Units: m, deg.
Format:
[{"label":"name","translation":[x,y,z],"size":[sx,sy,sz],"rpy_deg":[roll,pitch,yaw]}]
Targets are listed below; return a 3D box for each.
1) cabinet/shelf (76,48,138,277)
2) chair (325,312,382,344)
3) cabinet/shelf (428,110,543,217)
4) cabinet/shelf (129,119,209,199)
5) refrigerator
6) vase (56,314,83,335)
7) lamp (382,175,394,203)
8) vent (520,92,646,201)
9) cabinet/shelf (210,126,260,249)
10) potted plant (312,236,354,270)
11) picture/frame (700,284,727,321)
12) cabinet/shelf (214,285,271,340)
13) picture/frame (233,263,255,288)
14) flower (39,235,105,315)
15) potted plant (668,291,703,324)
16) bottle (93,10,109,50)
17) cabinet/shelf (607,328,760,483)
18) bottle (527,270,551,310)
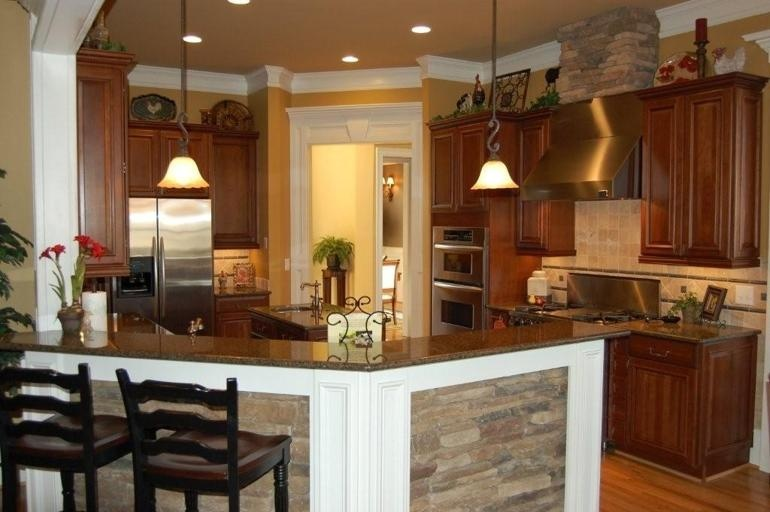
[{"label":"cabinet/shelf","translation":[-2.402,-0.793,5.478],"size":[0.510,1.914,0.302],"rpy_deg":[-5,13,-25]},{"label":"chair","translation":[-0.209,0.477,4.474],"size":[0.384,0.207,0.200],"rpy_deg":[1,12,-1]},{"label":"cabinet/shelf","translation":[1.218,-0.870,7.436],"size":[0.904,1.570,1.605],"rpy_deg":[-3,5,-22]},{"label":"cabinet/shelf","translation":[-2.640,-1.099,7.638],"size":[1.010,0.949,0.355],"rpy_deg":[3,16,-7]},{"label":"refrigerator","translation":[-2.742,0.213,7.541],"size":[1.062,1.786,0.678],"rpy_deg":[-4,18,-35]},{"label":"vase","translation":[-2.369,0.506,4.776],"size":[0.154,0.114,0.155],"rpy_deg":[-3,-4,31]},{"label":"lamp","translation":[0.077,-1.233,11.470],"size":[0.088,0.441,0.321],"rpy_deg":[-7,14,-33]},{"label":"vent","translation":[1.927,-1.054,6.313],"size":[0.477,1.019,1.187],"rpy_deg":[-4,5,-34]},{"label":"cabinet/shelf","translation":[-2.011,-0.864,8.328],"size":[0.692,1.480,0.358],"rpy_deg":[-1,10,-16]},{"label":"potted plant","translation":[-0.837,-0.021,10.284],"size":[0.625,0.446,0.608],"rpy_deg":[8,-16,-29]},{"label":"picture/frame","translation":[3.026,0.435,5.846],"size":[0.200,0.307,0.187],"rpy_deg":[-7,14,-34]},{"label":"cabinet/shelf","translation":[-1.861,0.684,7.953],"size":[0.812,0.777,0.548],"rpy_deg":[-2,4,-32]},{"label":"picture/frame","translation":[-1.857,0.257,8.363],"size":[0.292,0.283,0.280],"rpy_deg":[-2,12,-13]},{"label":"flower","translation":[-2.549,0.144,5.104],"size":[0.654,0.760,0.339],"rpy_deg":[2,-1,-32]},{"label":"potted plant","translation":[2.820,0.461,5.990],"size":[0.285,0.271,0.281],"rpy_deg":[-3,6,-34]},{"label":"bottle","translation":[-2.461,-1.935,5.473],"size":[0.092,0.207,0.090],"rpy_deg":[5,15,-1]},{"label":"cabinet/shelf","translation":[2.771,1.342,5.992],"size":[1.040,1.052,1.216],"rpy_deg":[3,-5,-17]},{"label":"bottle","translation":[1.687,0.350,6.998],"size":[0.252,0.362,0.261],"rpy_deg":[4,-3,0]}]
